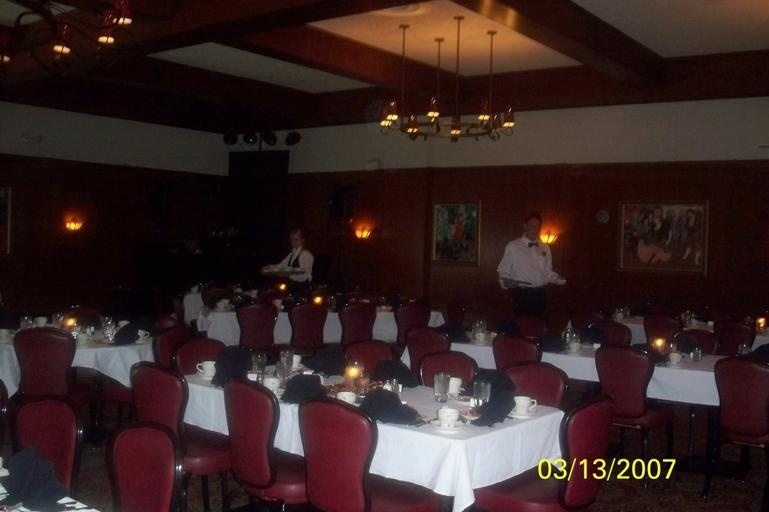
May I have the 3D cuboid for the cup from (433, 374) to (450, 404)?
[{"bbox_3d":[0.474,1.099,4.991,0.120,0.231,0.158,3,2,6],"label":"cup"}]

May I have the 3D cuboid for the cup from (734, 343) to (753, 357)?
[{"bbox_3d":[4.142,1.087,6.876,0.137,0.219,0.524,-1,-15,27],"label":"cup"}]

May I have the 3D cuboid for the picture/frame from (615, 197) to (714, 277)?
[{"bbox_3d":[4.948,-0.309,10.668,1.461,1.545,0.174,3,-27,25],"label":"picture/frame"}]

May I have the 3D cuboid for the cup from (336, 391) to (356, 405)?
[{"bbox_3d":[-0.302,1.130,4.747,0.150,0.128,0.152,-1,-3,0],"label":"cup"}]

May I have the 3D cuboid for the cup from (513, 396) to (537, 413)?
[{"bbox_3d":[1.101,1.161,4.692,0.159,0.120,0.126,10,-12,-43],"label":"cup"}]

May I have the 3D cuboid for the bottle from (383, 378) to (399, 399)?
[{"bbox_3d":[0.038,1.114,5.075,0.103,0.191,0.180,-5,-9,44],"label":"bottle"}]

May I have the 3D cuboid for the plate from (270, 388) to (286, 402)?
[{"bbox_3d":[-0.867,1.147,4.902,0.133,0.106,0.130,-1,5,-42],"label":"plate"}]

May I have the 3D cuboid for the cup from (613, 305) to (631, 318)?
[{"bbox_3d":[3.903,0.922,9.789,0.181,0.143,0.183,-3,8,1],"label":"cup"}]

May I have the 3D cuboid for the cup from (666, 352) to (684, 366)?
[{"bbox_3d":[3.017,1.076,6.193,0.110,0.118,0.117,1,-4,0],"label":"cup"}]

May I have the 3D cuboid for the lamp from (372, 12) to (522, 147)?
[{"bbox_3d":[0.986,-2.613,8.836,1.961,1.634,2.038,15,23,37],"label":"lamp"}]

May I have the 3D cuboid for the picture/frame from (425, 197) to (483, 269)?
[{"bbox_3d":[1.503,-0.481,12.488,1.351,1.720,0.116,1,-3,37],"label":"picture/frame"}]

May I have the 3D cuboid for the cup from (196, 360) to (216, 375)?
[{"bbox_3d":[-1.620,1.046,5.472,0.148,0.117,0.231,-1,-10,1],"label":"cup"}]

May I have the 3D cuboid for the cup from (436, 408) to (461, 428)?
[{"bbox_3d":[0.467,1.184,4.358,0.112,0.101,0.142,-1,-6,2],"label":"cup"}]

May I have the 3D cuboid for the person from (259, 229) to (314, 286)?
[{"bbox_3d":[-1.720,0.008,10.654,0.924,0.898,0.642,-8,-13,18],"label":"person"}]

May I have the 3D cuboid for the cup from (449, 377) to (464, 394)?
[{"bbox_3d":[0.623,1.122,5.170,0.126,0.109,0.130,-3,3,0],"label":"cup"}]
